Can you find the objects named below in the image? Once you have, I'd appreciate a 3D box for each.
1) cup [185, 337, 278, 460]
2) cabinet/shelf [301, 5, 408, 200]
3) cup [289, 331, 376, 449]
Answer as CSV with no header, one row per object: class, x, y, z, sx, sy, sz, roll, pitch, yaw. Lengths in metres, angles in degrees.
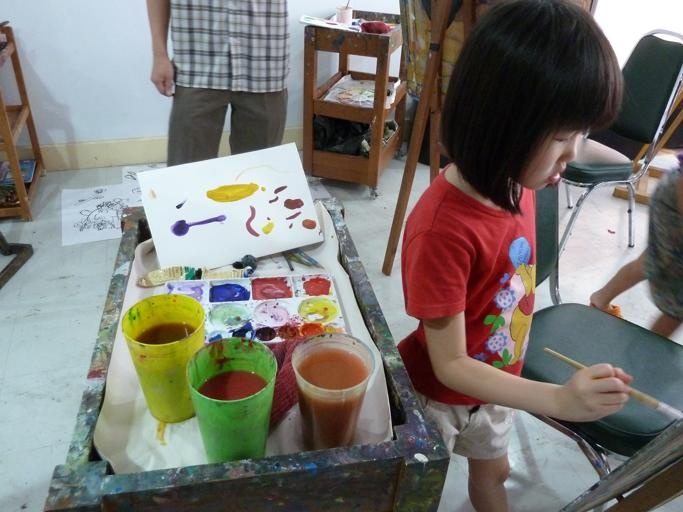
cup,-0.185,0.237,0.848,0.125,0.142,0.119,5,41,-5
cabinet/shelf,0.065,-0.926,3.017,0.552,0.901,0.672,14,36,11
cup,-0.022,0.254,0.919,0.136,0.166,0.142,3,27,-1
